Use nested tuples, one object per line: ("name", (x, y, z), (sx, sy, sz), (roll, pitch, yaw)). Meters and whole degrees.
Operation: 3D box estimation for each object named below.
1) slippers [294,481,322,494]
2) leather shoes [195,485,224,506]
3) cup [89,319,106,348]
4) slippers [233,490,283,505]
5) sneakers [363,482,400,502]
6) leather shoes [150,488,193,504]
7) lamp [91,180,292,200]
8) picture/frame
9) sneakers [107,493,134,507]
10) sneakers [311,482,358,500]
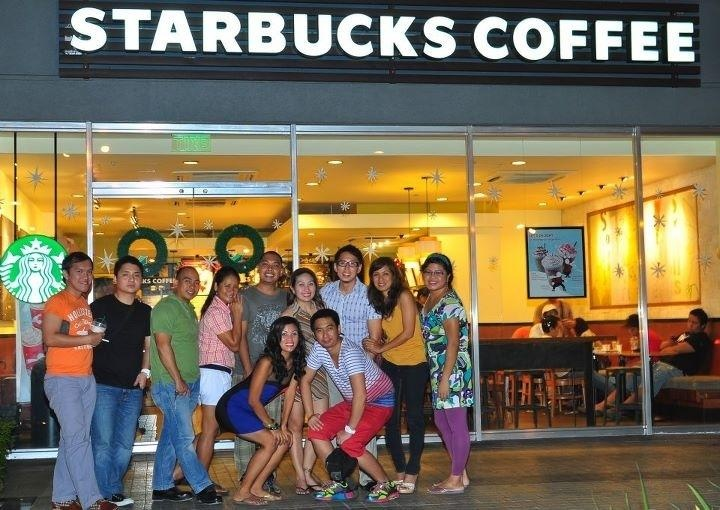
("slippers", (-0.504, 2.270, 6.874), (0.206, 0.041, 0.105), (0, -1, 4))
("leather shoes", (-1.378, 2.222, 6.548), (0.301, 0.129, 0.128), (-17, -16, 39))
("cup", (-2.368, 0.703, 6.446), (0.152, 0.248, 0.330), (0, -5, -19))
("slippers", (-0.960, 2.259, 6.551), (0.283, 0.069, 0.148), (-4, -8, 10))
("sneakers", (0.220, 2.216, 6.617), (0.263, 0.123, 0.146), (1, -7, -16))
("leather shoes", (-1.770, 2.264, 6.683), (0.382, 0.153, 0.138), (1, -5, 0))
("lamp", (-2.089, -0.815, 8.791), (2.374, 0.210, 0.059), (-1, -6, -8))
("picture/frame", (2.536, 0.108, 9.302), (0.998, 1.057, 0.072), (-1, 0, -8))
("sneakers", (-2.227, 2.287, 6.589), (0.237, 0.092, 0.088), (-3, -6, 28))
("sneakers", (-0.238, 2.218, 6.667), (0.435, 0.187, 0.153), (4, -8, -12))
